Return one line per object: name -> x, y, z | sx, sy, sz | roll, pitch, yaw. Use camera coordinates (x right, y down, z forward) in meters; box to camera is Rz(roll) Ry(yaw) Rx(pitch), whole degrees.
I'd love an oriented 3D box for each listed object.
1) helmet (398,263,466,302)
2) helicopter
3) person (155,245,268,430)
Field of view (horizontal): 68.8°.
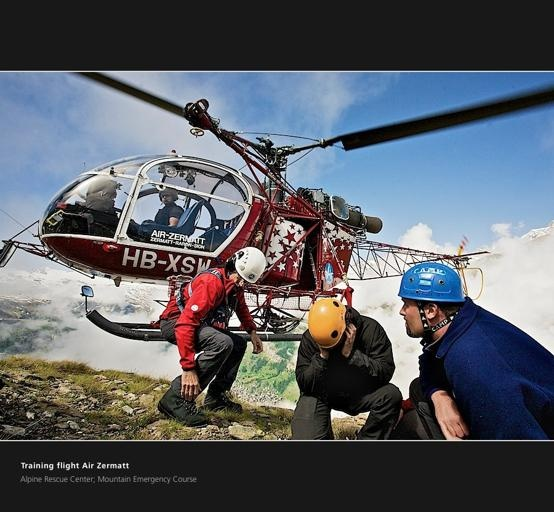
helmet -> 1.350, 0.206, 3.554 | 0.573, 0.286, 0.452 | 6, 9, 28
helicopter -> -0.261, -0.453, 6.247 | 5.755, 1.701, 4.619 | 9, -11, -26
person -> -0.747, 0.836, 4.727 | 1.164, 2.022, 0.969 | 11, -6, -32
